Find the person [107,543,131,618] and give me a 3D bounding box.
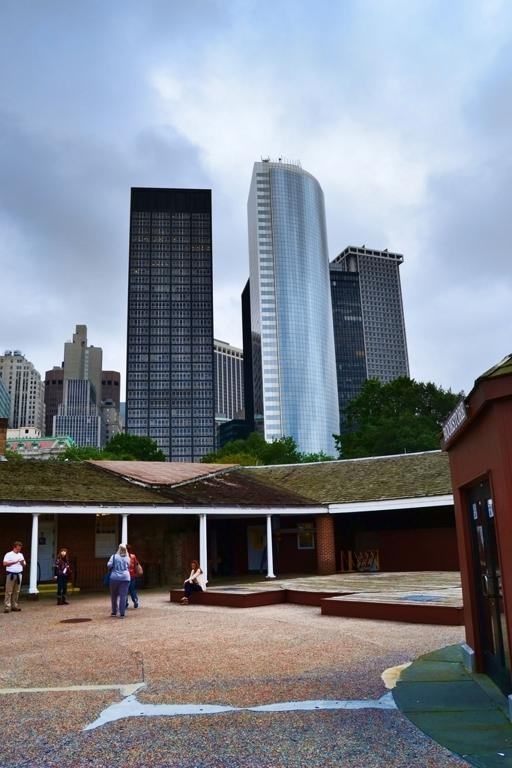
[{"bbox_3d":[-2.984,4.294,12.660,0.440,1.583,1.022,0,-10,-13],"label":"person"}]
